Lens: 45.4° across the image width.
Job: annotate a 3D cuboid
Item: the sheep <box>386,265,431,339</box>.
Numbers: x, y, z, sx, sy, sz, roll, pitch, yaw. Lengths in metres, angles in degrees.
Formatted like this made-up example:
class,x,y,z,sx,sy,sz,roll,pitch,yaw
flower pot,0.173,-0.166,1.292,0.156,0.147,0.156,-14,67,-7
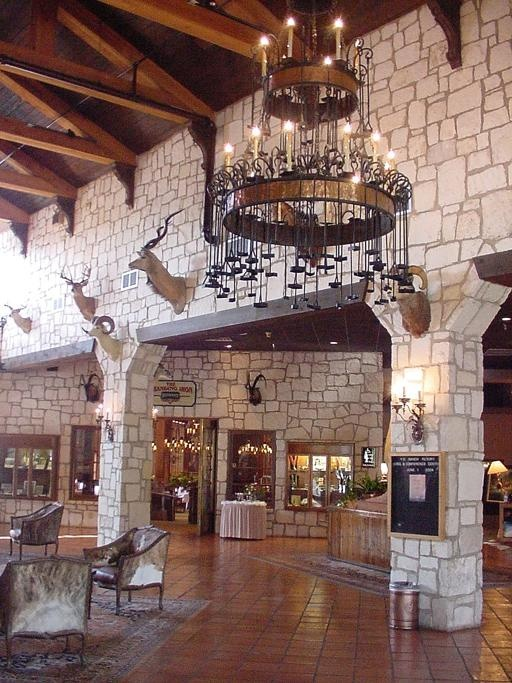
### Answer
class,x,y,z,sx,sy,sz,roll,pitch,yaw
sheep,1.430,-0.324,5.629,0.359,0.891,0.438,0,-4,2

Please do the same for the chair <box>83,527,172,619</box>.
class,x,y,z,sx,sy,sz,roll,pitch,yaw
chair,-1.240,2.217,6.321,0.925,1.136,1.026,-12,-19,39

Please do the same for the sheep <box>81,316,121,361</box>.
class,x,y,z,sx,sy,sz,roll,pitch,yaw
sheep,-2.625,-0.068,10.235,0.635,0.769,0.663,8,-13,-34

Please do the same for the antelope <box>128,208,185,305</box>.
class,x,y,z,sx,sy,sz,roll,pitch,yaw
antelope,-1.447,-1.078,8.838,0.603,1.502,0.699,1,-1,-38

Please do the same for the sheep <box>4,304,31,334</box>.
class,x,y,z,sx,sy,sz,roll,pitch,yaw
sheep,-5.357,-0.514,13.724,0.309,0.657,0.356,-8,-28,-32

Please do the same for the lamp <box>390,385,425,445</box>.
class,x,y,z,sx,sy,sz,roll,pitch,yaw
lamp,1.421,0.707,5.802,0.182,0.534,0.397,6,-12,-27

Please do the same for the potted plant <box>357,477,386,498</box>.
class,x,y,z,sx,sy,sz,roll,pitch,yaw
potted plant,1.812,2.252,9.447,0.325,0.234,0.327,12,-17,-30

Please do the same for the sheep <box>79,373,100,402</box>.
class,x,y,z,sx,sy,sz,roll,pitch,yaw
sheep,-3.704,1.036,13.662,0.442,0.643,0.213,-8,-2,25

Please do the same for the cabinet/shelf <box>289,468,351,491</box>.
class,x,y,z,sx,sy,sz,roll,pitch,yaw
cabinet/shelf,1.199,2.670,11.622,1.177,0.399,0.128,-2,-11,15

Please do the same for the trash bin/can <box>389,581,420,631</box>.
class,x,y,z,sx,sy,sz,roll,pitch,yaw
trash bin/can,1.291,2.302,5.346,0.339,0.385,0.340,1,-8,2
